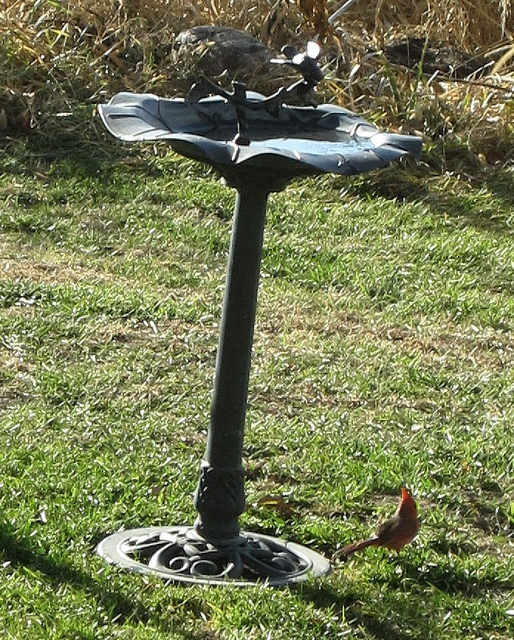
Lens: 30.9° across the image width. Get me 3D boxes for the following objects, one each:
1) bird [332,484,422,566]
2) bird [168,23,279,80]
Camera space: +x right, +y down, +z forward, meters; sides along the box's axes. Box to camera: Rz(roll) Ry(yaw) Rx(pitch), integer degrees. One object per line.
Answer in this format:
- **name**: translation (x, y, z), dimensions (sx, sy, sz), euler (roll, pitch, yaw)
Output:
- **bird**: translation (0.353, 0.653, 2.841), dimensions (0.337, 0.186, 0.112), euler (-9, 11, -26)
- **bird**: translation (-0.236, -2.224, 7.440), dimensions (1.005, 0.261, 0.565), euler (-1, 41, -2)
